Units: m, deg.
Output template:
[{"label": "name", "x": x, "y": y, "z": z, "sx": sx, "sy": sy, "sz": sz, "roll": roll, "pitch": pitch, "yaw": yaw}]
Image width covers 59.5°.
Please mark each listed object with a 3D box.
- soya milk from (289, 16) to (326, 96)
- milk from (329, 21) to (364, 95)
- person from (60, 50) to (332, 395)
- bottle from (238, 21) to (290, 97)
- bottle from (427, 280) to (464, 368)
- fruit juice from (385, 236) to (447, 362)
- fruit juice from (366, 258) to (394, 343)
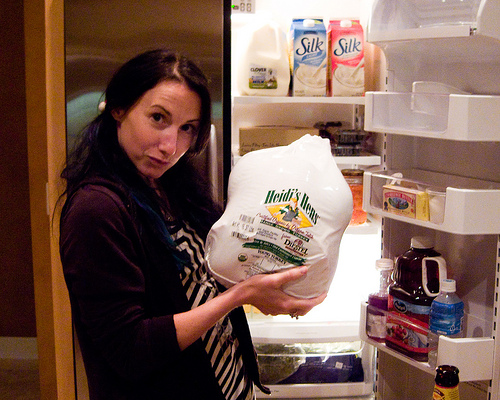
[{"label": "soya milk", "x": 0.250, "y": -0.615, "z": 1.883, "sx": 0.159, "sy": 0.356, "sz": 0.136, "roll": 0, "pitch": 4, "yaw": 2}, {"label": "milk", "x": 0.404, "y": -0.611, "z": 1.925, "sx": 0.126, "sy": 0.345, "sz": 0.130, "roll": -2, "pitch": 16, "yaw": -8}, {"label": "person", "x": -0.184, "y": 0.108, "z": 1.176, "sx": 0.592, "sy": 1.004, "sz": 0.407, "roll": -3, "pitch": 4, "yaw": -23}, {"label": "bottle", "x": 0.069, "y": -0.614, "z": 1.956, "sx": 0.228, "sy": 0.357, "sz": 0.227, "roll": 3, "pitch": 6, "yaw": 0}, {"label": "bottle", "x": 0.594, "y": 0.379, "z": 1.325, "sx": 0.098, "sy": 0.266, "sz": 0.068, "roll": 0, "pitch": 4, "yaw": 18}, {"label": "fruit juice", "x": 0.527, "y": 0.300, "z": 1.507, "sx": 0.181, "sy": 0.405, "sz": 0.266, "roll": 3, "pitch": 3, "yaw": 39}, {"label": "fruit juice", "x": 0.482, "y": 0.369, "z": 1.558, "sx": 0.115, "sy": 0.316, "sz": 0.118, "roll": 2, "pitch": -1, "yaw": 19}]
